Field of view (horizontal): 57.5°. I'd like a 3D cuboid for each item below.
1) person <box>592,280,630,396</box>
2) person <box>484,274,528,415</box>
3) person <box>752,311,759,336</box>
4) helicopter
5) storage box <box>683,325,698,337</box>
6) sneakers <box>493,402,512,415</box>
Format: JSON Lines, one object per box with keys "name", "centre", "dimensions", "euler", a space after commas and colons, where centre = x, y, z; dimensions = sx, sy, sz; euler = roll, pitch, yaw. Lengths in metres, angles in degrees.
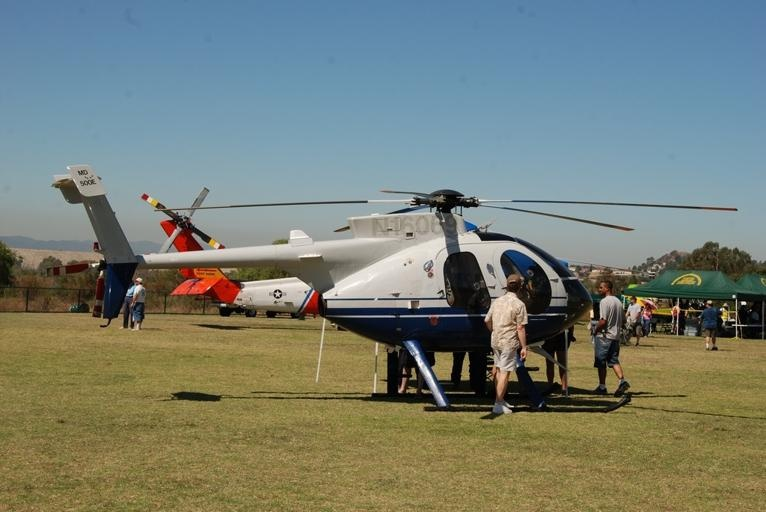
{"name": "person", "centre": [5.775, 2.038, 17.457], "dimensions": [1.305, 2.678, 1.096], "euler": [4, -8, 7]}
{"name": "person", "centre": [2.588, 1.875, 14.392], "dimensions": [0.640, 2.902, 0.879], "euler": [1, 3, -25]}
{"name": "person", "centre": [23.612, 4.357, 44.099], "dimensions": [0.482, 1.581, 0.916], "euler": [4, 3, 27]}
{"name": "helicopter", "centre": [-0.879, 0.462, 15.482], "dimensions": [10.158, 2.855, 7.507], "euler": [-1, 1, -5]}
{"name": "storage box", "centre": [20.086, 4.930, 45.461], "dimensions": [0.824, 0.576, 0.760], "euler": [0, 1, 16]}
{"name": "sneakers", "centre": [2.515, 3.202, 14.592], "dimensions": [0.584, 0.187, 0.186], "euler": [-1, 6, -37]}
